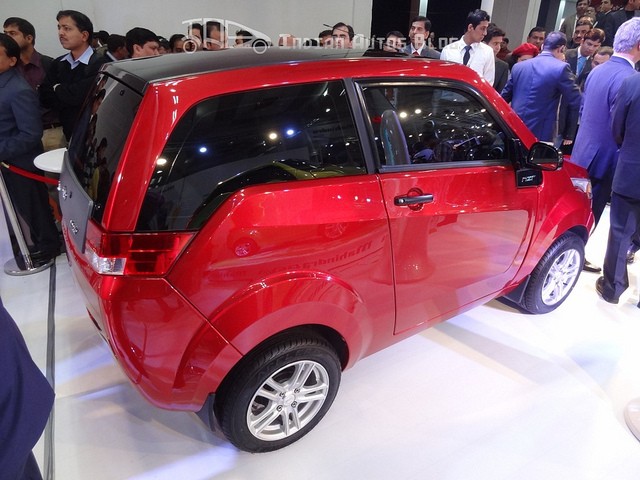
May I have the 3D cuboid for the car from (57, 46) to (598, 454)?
[{"bbox_3d":[0.141,-0.307,2.635,2.933,1.520,1.761,-19,30,-28],"label":"car"}]

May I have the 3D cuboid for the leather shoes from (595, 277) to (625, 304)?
[{"bbox_3d":[2.274,0.417,3.269,0.105,0.124,0.274,-11,33,5],"label":"leather shoes"}]

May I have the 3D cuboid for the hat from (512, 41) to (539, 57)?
[{"bbox_3d":[2.765,-2.525,5.457,0.248,0.103,0.286,12,42,36],"label":"hat"}]
